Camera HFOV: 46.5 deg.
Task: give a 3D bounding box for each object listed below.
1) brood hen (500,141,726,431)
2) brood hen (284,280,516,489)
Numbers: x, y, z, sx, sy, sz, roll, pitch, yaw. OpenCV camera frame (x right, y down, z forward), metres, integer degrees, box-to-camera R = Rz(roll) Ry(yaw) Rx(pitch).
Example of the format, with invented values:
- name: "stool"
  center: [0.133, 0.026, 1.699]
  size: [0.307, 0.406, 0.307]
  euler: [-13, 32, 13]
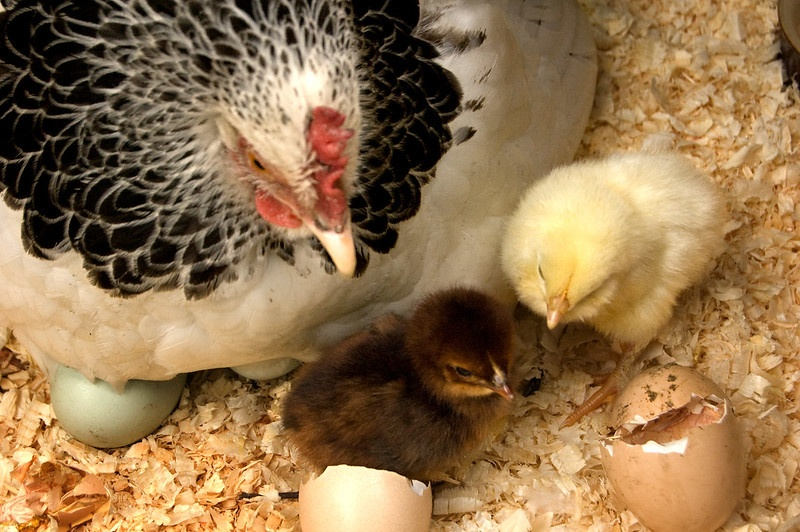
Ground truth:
- name: "brood hen"
  center: [0.637, 0.001, 2.746]
  size: [0.427, 0.520, 0.699]
  euler: [28, 84, 26]
- name: "brood hen"
  center: [0.009, 0.427, 2.744]
  size: [0.583, 0.611, 0.461]
  euler: [-6, 22, 1]
